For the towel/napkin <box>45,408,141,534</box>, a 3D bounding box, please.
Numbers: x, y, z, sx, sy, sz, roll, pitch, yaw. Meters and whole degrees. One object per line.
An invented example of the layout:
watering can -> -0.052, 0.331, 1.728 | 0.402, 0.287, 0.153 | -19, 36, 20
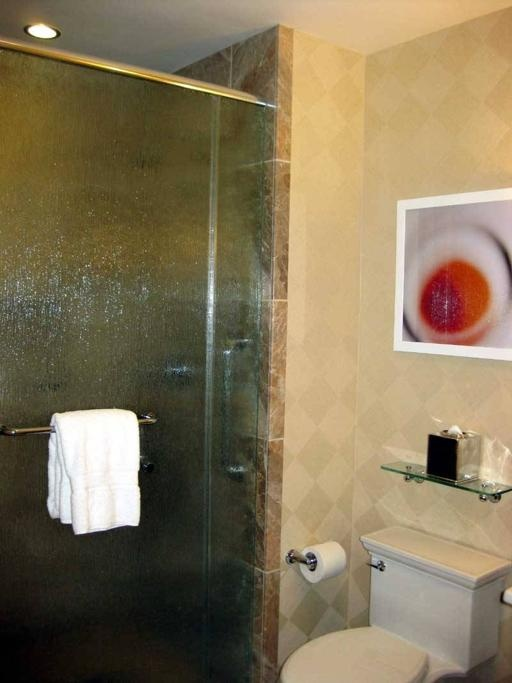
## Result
towel/napkin -> -0.416, 0.343, 1.697 | 0.277, 0.317, 0.082 | 1, -2, -42

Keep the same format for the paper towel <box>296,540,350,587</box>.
paper towel -> 0.237, 0.754, 2.216 | 0.145, 0.152, 0.118 | 16, -13, -41

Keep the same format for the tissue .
tissue  -> 0.624, 0.353, 1.995 | 0.137, 0.181, 0.146 | 6, -8, -26
